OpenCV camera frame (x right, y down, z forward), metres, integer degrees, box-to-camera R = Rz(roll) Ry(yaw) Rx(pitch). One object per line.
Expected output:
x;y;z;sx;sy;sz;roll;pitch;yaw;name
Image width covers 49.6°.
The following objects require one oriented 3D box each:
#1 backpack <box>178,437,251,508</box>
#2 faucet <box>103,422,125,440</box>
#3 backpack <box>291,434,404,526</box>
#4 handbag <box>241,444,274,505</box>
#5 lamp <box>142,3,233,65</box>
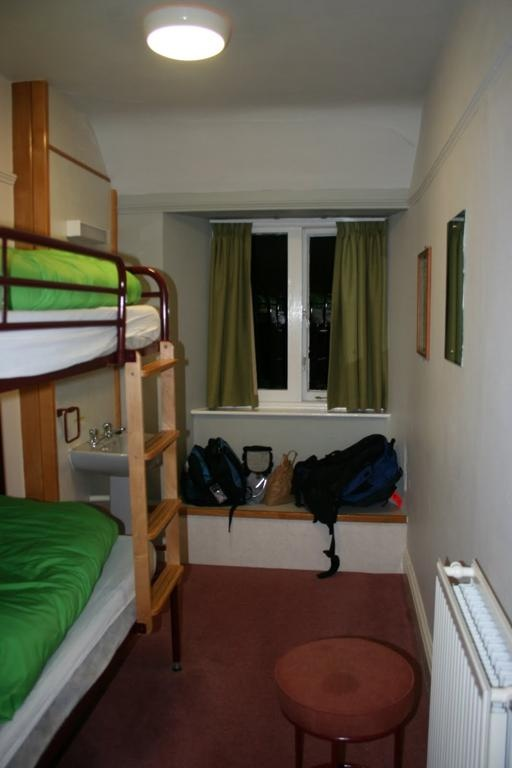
-0.283;0.599;3.765;0.367;0.515;0.340;-3;-6;10;backpack
-0.877;0.285;3.428;0.102;0.101;0.084;3;4;2;faucet
0.602;0.598;3.735;0.729;0.468;0.548;-2;4;-20;backpack
-0.017;0.630;4.101;0.226;0.514;0.168;3;19;-13;handbag
-0.260;-1.325;2.099;0.312;0.085;0.248;-2;5;-16;lamp
